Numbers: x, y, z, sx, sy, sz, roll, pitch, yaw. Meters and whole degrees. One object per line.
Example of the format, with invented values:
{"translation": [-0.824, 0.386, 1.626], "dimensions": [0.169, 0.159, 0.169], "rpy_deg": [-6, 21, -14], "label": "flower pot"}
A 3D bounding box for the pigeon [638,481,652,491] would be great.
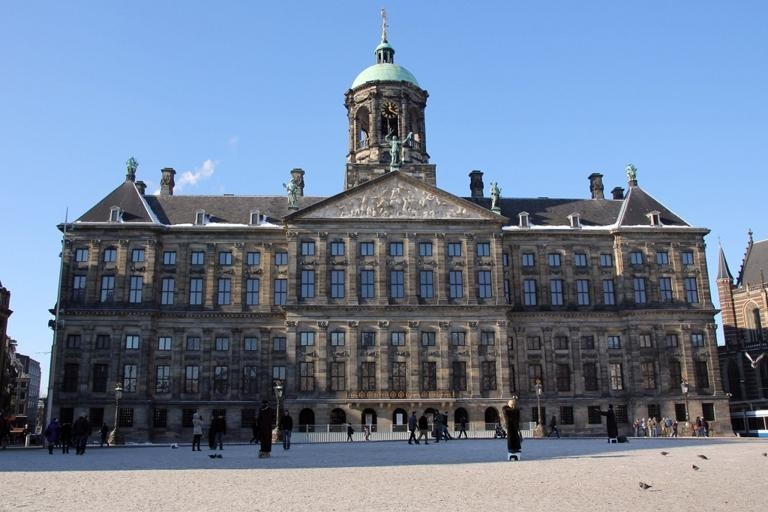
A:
{"translation": [11.345, 9.913, 32.128], "dimensions": [0.719, 0.395, 0.235], "rpy_deg": [2, -14, -43], "label": "pigeon"}

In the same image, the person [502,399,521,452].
{"translation": [7.253, 9.077, 40.210], "dimensions": [0.928, 2.625, 0.952], "rpy_deg": [-6, -23, 30], "label": "person"}

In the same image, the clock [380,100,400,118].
{"translation": [0.713, -16.851, 85.397], "dimensions": [1.852, 1.653, 1.748], "rpy_deg": [8, 10, 2], "label": "clock"}
